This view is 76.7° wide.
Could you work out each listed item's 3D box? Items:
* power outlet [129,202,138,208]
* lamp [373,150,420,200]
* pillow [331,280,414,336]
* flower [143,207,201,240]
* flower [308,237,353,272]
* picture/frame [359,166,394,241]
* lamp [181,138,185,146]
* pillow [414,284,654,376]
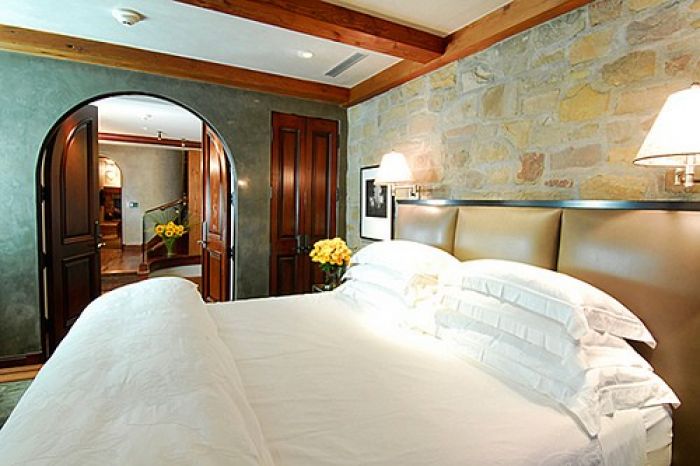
[{"bbox_3d":[-4.731,-0.642,9.581,0.125,0.089,0.017,-1,10,-29],"label":"power outlet"},{"bbox_3d":[0.410,-0.575,4.402,0.456,0.674,0.457,1,8,-4],"label":"lamp"},{"bbox_3d":[0.164,0.573,3.441,0.290,0.133,0.450,39,-13,-33],"label":"pillow"},{"bbox_3d":[-4.097,-0.355,9.767,1.003,0.421,1.025,6,5,19],"label":"flower"},{"bbox_3d":[-0.197,0.194,4.291,0.346,0.352,0.349,4,2,4],"label":"flower"},{"bbox_3d":[0.297,-0.324,4.732,0.047,1.132,0.846,-1,2,-28],"label":"picture/frame"},{"bbox_3d":[-3.258,-1.779,8.585,0.078,0.113,0.177,-2,5,-21],"label":"lamp"},{"bbox_3d":[1.099,0.447,2.718,0.561,0.298,0.857,3,1,-31],"label":"pillow"}]
